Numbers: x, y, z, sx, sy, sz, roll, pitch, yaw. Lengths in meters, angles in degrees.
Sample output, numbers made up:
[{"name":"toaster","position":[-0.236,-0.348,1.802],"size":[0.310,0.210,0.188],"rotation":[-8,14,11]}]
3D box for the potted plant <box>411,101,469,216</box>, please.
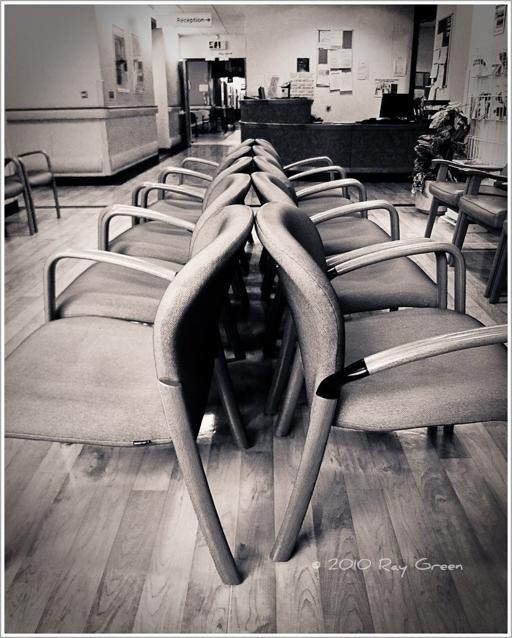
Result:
[{"name":"potted plant","position":[1.834,-1.591,4.446],"size":[0.434,1.035,0.439],"rotation":[-15,25,-33]}]
